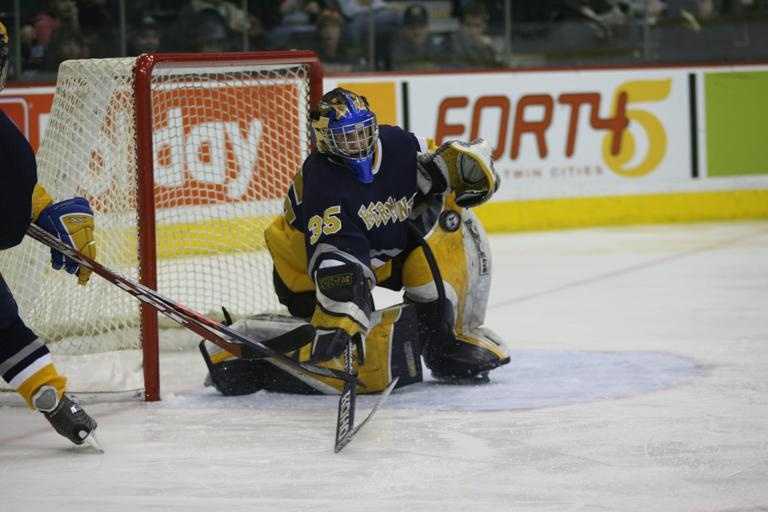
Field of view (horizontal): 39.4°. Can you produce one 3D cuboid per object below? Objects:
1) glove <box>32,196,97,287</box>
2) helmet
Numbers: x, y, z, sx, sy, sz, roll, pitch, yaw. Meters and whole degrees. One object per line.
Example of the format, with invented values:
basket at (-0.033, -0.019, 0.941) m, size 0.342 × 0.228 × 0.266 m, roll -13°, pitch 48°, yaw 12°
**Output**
glove at (-1.341, -0.064, 4.611) m, size 0.271 × 0.318 × 0.137 m, roll -3°, pitch 24°, yaw 4°
helmet at (-0.189, -0.568, 4.874) m, size 0.294 × 0.361 × 0.406 m, roll -15°, pitch 27°, yaw -23°
